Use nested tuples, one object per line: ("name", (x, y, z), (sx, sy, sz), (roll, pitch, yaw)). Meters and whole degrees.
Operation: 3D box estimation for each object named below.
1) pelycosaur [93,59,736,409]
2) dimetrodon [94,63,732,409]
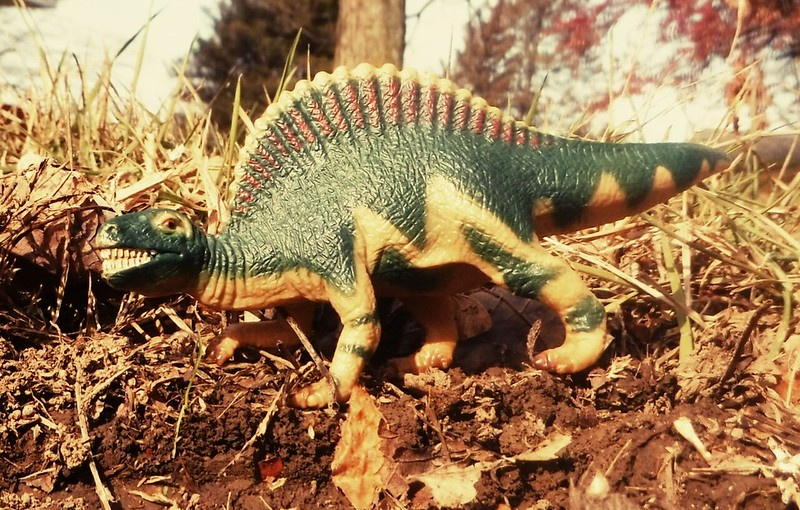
("pelycosaur", (0.169, -0.124, 3.403), (2.780, 1.316, 0.845), (-7, 3, -7))
("dimetrodon", (0.130, -0.129, 3.410), (2.747, 1.345, 0.833), (-7, 3, -9))
